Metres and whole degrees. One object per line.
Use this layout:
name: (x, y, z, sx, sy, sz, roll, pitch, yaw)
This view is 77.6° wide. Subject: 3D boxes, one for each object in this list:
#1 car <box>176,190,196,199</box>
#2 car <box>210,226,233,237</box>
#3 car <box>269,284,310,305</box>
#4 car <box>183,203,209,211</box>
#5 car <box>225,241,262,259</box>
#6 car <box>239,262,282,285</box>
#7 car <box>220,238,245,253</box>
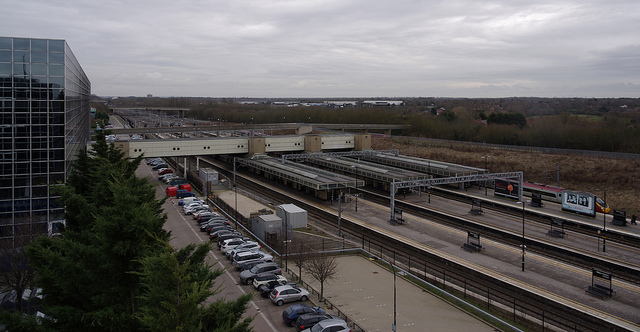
car: (-23.573, 5.070, 69.476, 2.833, 1.046, 1.486, -4, 8, -21)
car: (-13.656, 8.759, 54.020, 2.811, 0.691, 1.510, -10, 16, -39)
car: (-3.396, 13.646, 42.733, 4.502, 1.391, 2.258, 1, 5, -36)
car: (-19.492, 6.341, 62.368, 3.132, 0.872, 1.391, -3, 6, -22)
car: (-9.634, 10.681, 50.045, 4.082, 1.113, 1.726, -8, 14, -28)
car: (-6.850, 12.194, 45.763, 4.998, 1.439, 2.095, -4, 14, -28)
car: (-11.160, 10.114, 50.557, 2.846, 1.007, 1.354, -8, 14, -24)
